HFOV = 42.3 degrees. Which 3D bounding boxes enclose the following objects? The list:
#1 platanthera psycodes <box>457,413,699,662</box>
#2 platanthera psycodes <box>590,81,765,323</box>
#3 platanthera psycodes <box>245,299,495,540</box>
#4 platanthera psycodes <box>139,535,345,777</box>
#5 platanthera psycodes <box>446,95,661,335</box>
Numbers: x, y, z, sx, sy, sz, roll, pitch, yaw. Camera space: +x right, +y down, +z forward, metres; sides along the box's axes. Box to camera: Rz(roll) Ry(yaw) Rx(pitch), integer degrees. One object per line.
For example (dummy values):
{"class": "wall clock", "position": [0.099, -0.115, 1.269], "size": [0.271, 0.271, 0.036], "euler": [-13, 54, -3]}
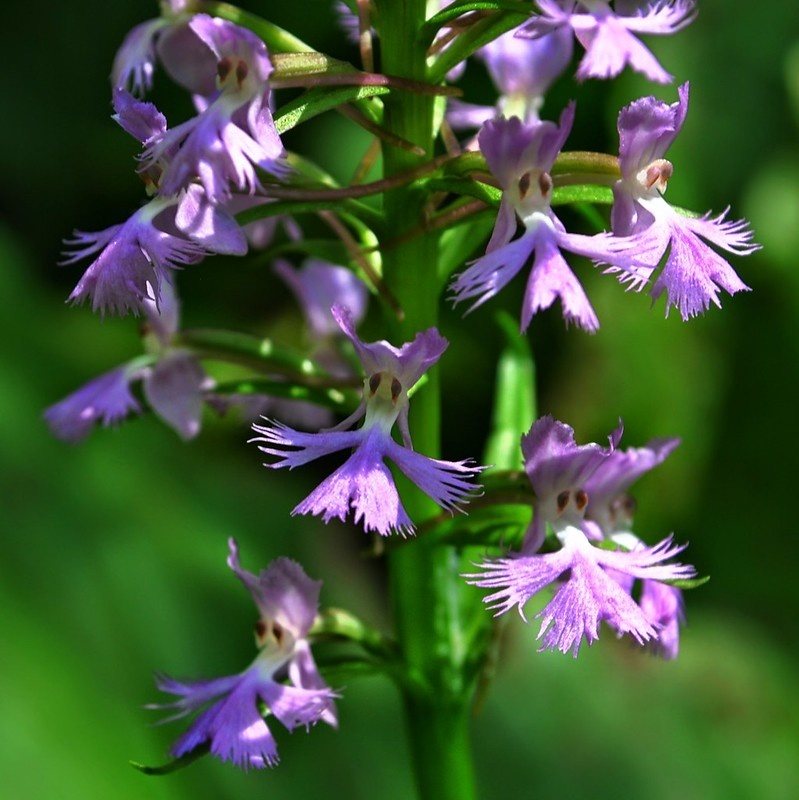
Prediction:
{"class": "platanthera psycodes", "position": [0.210, 0.169, 1.231], "size": [0.220, 0.167, 0.360], "euler": [1, 36, 5]}
{"class": "platanthera psycodes", "position": [0.295, -0.196, 1.224], "size": [0.197, 0.288, 0.080], "euler": [-12, -6, -37]}
{"class": "platanthera psycodes", "position": [-0.033, 0.024, 1.220], "size": [0.229, 0.124, 0.369], "euler": [3, 45, 1]}
{"class": "platanthera psycodes", "position": [-0.166, 0.333, 1.336], "size": [0.214, 0.297, 0.308], "euler": [13, -19, -7]}
{"class": "platanthera psycodes", "position": [0.155, -0.237, 1.145], "size": [0.131, 0.307, 0.399], "euler": [21, 15, -2]}
